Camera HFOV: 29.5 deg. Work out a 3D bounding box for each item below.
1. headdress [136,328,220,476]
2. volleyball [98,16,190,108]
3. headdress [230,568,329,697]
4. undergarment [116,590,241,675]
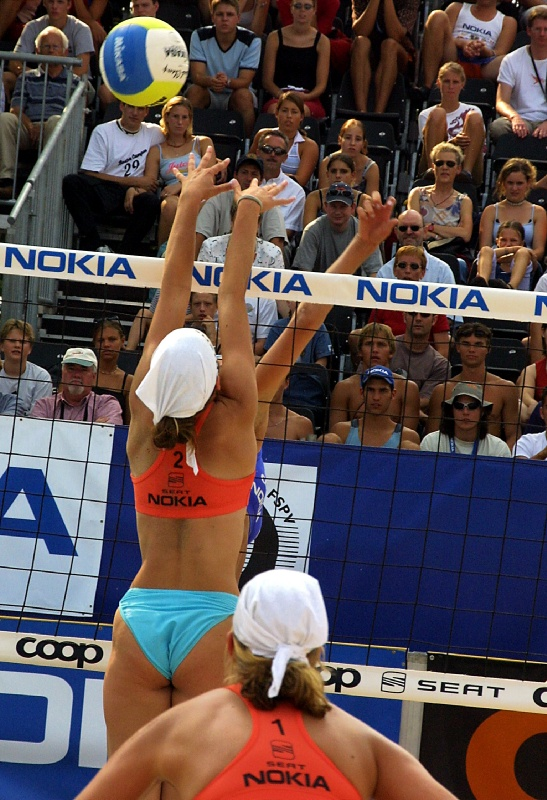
[{"bbox_3d":[-0.242,-0.056,2.651,0.205,0.247,0.147,3,11,-8],"label":"headdress"},{"bbox_3d":[-0.585,-1.573,4.796,0.398,0.435,0.397,27,34,30],"label":"volleyball"},{"bbox_3d":[0.018,0.468,2.095,0.188,0.243,0.183,1,-12,21],"label":"headdress"},{"bbox_3d":[-0.244,0.562,2.748,0.319,0.216,0.215,2,-30,12],"label":"undergarment"}]
